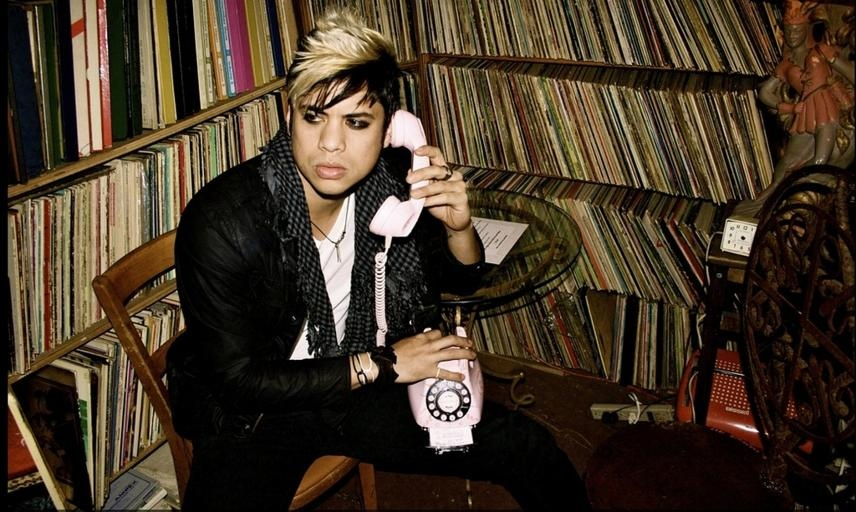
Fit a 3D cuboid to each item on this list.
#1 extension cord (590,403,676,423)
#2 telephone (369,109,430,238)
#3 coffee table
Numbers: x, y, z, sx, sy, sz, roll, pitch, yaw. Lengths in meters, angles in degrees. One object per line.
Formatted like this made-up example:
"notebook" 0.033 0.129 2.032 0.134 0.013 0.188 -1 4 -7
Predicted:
"extension cord" 1.108 0.850 3.356 0.488 0.081 0.094 -1 -33 21
"telephone" -0.105 -0.328 2.523 0.177 0.358 0.310 2 -1 28
"coffee table" 0.392 0.255 3.047 0.653 1.220 1.256 2 0 2
